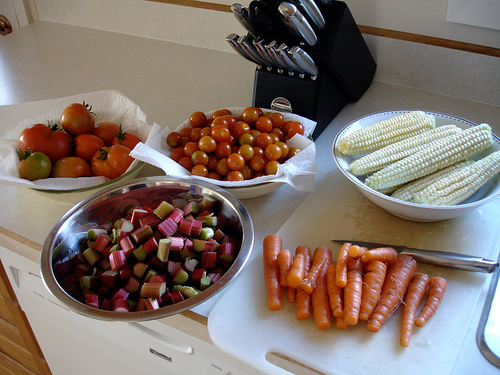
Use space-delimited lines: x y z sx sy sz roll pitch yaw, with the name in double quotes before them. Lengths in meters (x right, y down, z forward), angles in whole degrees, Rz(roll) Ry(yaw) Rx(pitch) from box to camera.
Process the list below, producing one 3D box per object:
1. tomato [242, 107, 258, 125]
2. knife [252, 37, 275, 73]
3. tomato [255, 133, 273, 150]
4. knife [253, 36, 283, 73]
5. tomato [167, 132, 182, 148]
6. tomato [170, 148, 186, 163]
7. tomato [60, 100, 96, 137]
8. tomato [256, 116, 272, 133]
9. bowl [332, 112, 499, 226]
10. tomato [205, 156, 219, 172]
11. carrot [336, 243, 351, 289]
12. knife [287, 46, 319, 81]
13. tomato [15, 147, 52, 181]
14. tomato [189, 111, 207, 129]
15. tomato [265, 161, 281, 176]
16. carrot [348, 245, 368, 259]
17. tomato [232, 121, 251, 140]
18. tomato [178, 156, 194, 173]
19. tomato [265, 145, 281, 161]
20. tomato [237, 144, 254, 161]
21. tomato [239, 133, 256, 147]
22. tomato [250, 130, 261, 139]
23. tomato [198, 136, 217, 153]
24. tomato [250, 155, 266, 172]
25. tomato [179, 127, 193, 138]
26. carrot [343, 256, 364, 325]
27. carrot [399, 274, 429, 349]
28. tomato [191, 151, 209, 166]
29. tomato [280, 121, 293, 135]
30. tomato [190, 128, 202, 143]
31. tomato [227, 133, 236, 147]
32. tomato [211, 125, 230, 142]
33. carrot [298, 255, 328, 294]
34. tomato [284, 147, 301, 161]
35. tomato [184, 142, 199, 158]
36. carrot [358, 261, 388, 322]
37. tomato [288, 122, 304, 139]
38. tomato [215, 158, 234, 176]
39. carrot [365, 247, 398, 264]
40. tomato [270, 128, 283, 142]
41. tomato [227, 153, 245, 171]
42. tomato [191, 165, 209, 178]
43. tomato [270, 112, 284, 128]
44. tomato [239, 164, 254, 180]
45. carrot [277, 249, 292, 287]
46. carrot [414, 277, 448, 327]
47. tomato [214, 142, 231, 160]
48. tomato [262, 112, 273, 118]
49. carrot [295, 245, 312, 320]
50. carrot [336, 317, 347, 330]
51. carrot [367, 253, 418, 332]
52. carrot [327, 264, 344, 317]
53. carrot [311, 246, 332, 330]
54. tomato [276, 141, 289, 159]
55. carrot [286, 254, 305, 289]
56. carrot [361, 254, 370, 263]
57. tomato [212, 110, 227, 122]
"tomato" 0.003 -0.194 1.066 0.035 0.051 0.040 5 9 3
"knife" 0.042 -0.361 1.079 0.031 0.118 0.032 -44 57 -10
"tomato" 0.036 -0.120 1.007 0.035 0.039 0.038 -3 21 3
"knife" 0.052 -0.359 1.117 0.034 0.159 0.048 4 68 32
"tomato" -0.200 -0.126 1.061 0.034 0.038 0.035 12 9 38
"tomato" -0.184 -0.086 1.023 0.030 0.042 0.033 5 12 7
"tomato" -0.457 -0.183 1.100 0.062 0.084 0.066 -5 5 -10
"tomato" 0.038 -0.165 1.044 0.035 0.040 0.038 3 4 1
"bowl" 0.407 -0.060 0.959 0.407 0.122 0.325 5 50 3
"tomato" -0.095 -0.059 0.997 0.030 0.043 0.034 3 31 10
"carrot" 0.190 0.162 0.808 0.023 0.027 0.094 9 37 13
"knife" 0.144 -0.327 1.030 0.034 0.149 0.042 33 88 34
"tomato" -0.528 -0.050 0.967 0.072 0.050 0.042 -11 48 -10
"tomato" -0.148 -0.189 1.112 0.038 0.048 0.043 14 16 -25
"tomato" 0.058 -0.048 0.973 0.028 0.041 0.031 0 -1 13
"carrot" 0.218 0.127 0.804 0.018 0.020 0.047 27 12 24
"tomato" -0.021 -0.152 1.031 0.040 0.043 0.045 -9 64 -13
"tomato" -0.158 -0.062 0.993 0.029 0.039 0.034 9 60 24
"tomato" 0.064 -0.094 1.026 0.032 0.042 0.036 -22 54 -12
"tomato" -0.010 -0.089 0.981 0.031 0.043 0.037 2 54 2
"tomato" -0.004 -0.118 1.039 0.032 0.032 0.040 31 48 -21
"tomato" 0.013 -0.143 1.035 0.019 0.025 0.022 2 45 5
"tomato" -0.105 -0.108 0.996 0.047 0.033 0.034 -19 50 -17
"tomato" 0.019 -0.062 0.985 0.033 0.039 0.036 0 11 8
"tomato" -0.175 -0.152 1.078 0.026 0.037 0.028 15 4 5
"carrot" 0.201 0.199 0.763 0.033 0.035 0.139 23 51 -10
"carrot" 0.321 0.214 0.797 0.038 0.045 0.192 14 58 24
"tomato" -0.123 -0.072 0.975 0.031 0.044 0.033 12 11 12
"tomato" 0.102 -0.165 1.080 0.029 0.041 0.033 8 22 6
"tomato" -0.142 -0.139 1.045 0.026 0.021 0.035 11 43 9
"tomato" -0.047 -0.123 1.026 0.021 0.031 0.023 1 11 10
"tomato" -0.076 -0.139 1.006 0.045 0.024 0.041 -31 56 -25
"carrot" 0.131 0.175 0.801 0.026 0.025 0.094 -16 29 45
"tomato" 0.110 -0.091 1.011 0.029 0.037 0.031 -24 65 -42
"tomato" -0.149 -0.099 1.000 0.030 0.040 0.036 22 59 -1
"carrot" 0.249 0.201 0.797 0.055 0.059 0.152 -5 32 32
"tomato" 0.125 -0.152 1.064 0.034 0.041 0.037 -2 9 42
"tomato" -0.061 -0.051 0.983 0.034 0.046 0.039 5 42 6
"carrot" 0.270 0.137 0.804 0.061 0.030 0.032 2 47 -20
"tomato" 0.074 -0.142 1.060 0.029 0.035 0.037 -5 6 8
"tomato" -0.034 -0.062 0.959 0.035 0.041 0.039 3 36 23
"tomato" -0.124 -0.037 0.971 0.040 0.026 0.035 -1 48 -2
"tomato" 0.074 -0.181 1.074 0.031 0.039 0.041 2 -3 -3
"tomato" -0.006 -0.037 0.982 0.029 0.035 0.032 -12 22 38
"carrot" 0.078 0.167 0.823 0.021 0.027 0.068 -15 46 34
"carrot" 0.361 0.226 0.778 0.042 0.041 0.154 -15 6 40
"tomato" -0.064 -0.095 1.000 0.035 0.049 0.041 6 36 6
"tomato" 0.050 -0.199 1.086 0.017 0.015 0.025 0 19 5
"carrot" 0.108 0.195 0.786 0.027 0.031 0.131 -11 47 14
"carrot" 0.173 0.254 0.743 0.016 0.020 0.022 -17 17 0
"carrot" 0.291 0.208 0.796 0.055 0.059 0.203 7 32 39
"carrot" 0.174 0.207 0.790 0.030 0.035 0.115 -10 32 14
"carrot" 0.145 0.205 0.825 0.038 0.037 0.158 31 43 -26
"tomato" 0.083 -0.097 1.014 0.029 0.042 0.035 -4 19 5
"carrot" 0.098 0.168 0.812 0.032 0.035 0.085 5 27 14
"carrot" 0.237 0.144 0.801 0.013 0.008 0.015 -31 30 15
"tomato" -0.080 -0.196 1.073 0.026 0.021 0.036 -6 36 -1
